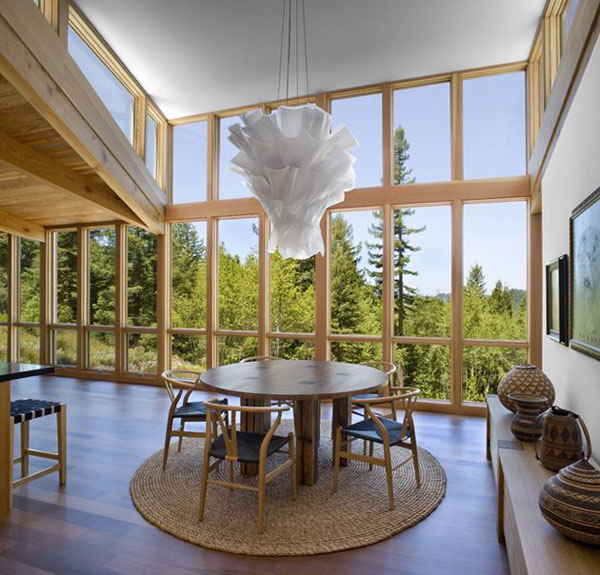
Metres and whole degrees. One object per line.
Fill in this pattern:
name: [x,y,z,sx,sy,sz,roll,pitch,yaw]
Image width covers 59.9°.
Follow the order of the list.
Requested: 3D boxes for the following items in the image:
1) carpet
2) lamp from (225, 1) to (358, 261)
carpet: [-0.183,1.468,3.786,2.581,0.075,1.657,0,2,13]
lamp: [-0.030,-1.511,4.463,0.989,2.535,2.260,0,2,4]
